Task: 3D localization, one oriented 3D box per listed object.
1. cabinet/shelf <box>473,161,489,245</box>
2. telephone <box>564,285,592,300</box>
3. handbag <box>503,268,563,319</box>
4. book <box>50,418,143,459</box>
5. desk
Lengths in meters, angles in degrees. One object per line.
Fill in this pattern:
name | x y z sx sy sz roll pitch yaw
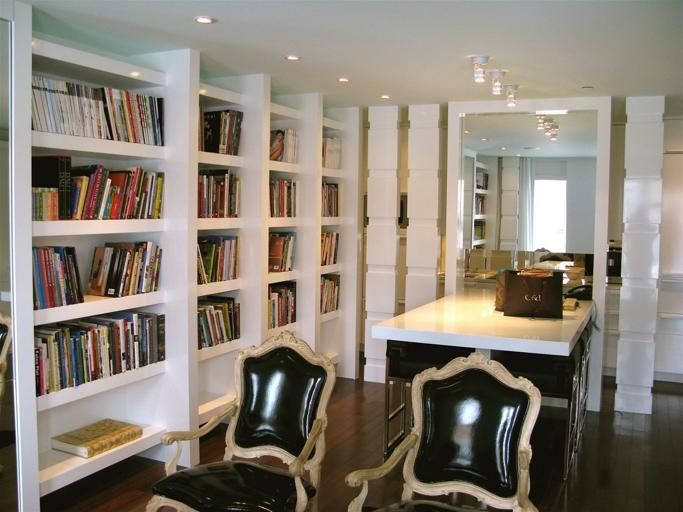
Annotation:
cabinet/shelf | 1.443 -0.539 5.521 0.149 0.877 0.114 2 7 11
telephone | 2.359 0.344 5.257 0.216 0.077 0.163 -1 2 -22
handbag | 1.513 0.300 4.288 0.558 0.469 0.341 0 6 16
book | -1.719 1.275 3.765 0.403 0.099 0.494 4 7 27
desk | 1.323 0.918 4.436 1.108 0.939 1.864 1 4 24
